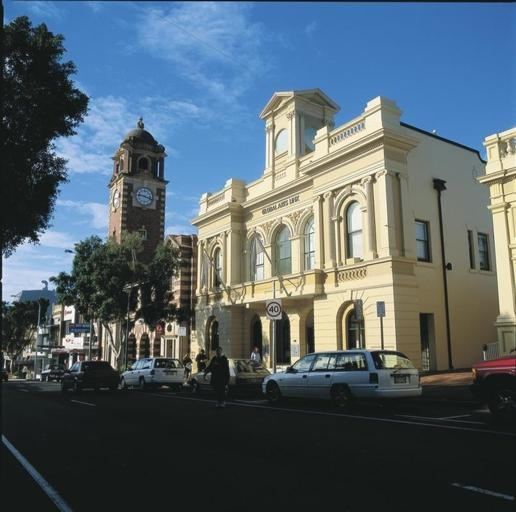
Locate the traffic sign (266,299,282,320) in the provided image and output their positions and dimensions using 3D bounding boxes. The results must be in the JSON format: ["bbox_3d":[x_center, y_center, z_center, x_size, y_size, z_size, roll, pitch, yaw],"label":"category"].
[{"bbox_3d":[0.649,2.183,21.455,0.562,0.832,0.811,-1,-8,-4],"label":"traffic sign"}]
